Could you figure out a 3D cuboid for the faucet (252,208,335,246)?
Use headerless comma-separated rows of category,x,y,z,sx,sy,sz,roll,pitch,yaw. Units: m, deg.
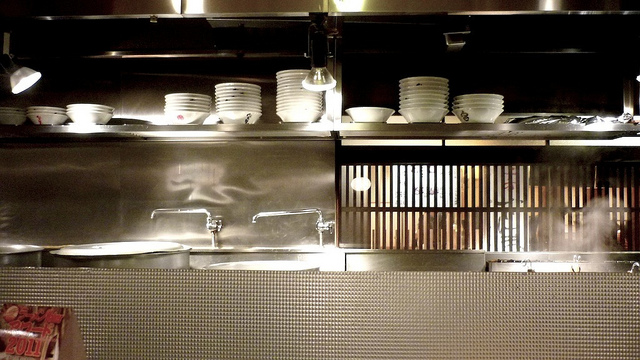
faucet,-0.168,0.443,7.165,0.618,0.307,0.179,3,5,43

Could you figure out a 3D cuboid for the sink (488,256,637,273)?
sink,2.354,0.808,6.937,1.452,0.180,0.216,2,2,1
